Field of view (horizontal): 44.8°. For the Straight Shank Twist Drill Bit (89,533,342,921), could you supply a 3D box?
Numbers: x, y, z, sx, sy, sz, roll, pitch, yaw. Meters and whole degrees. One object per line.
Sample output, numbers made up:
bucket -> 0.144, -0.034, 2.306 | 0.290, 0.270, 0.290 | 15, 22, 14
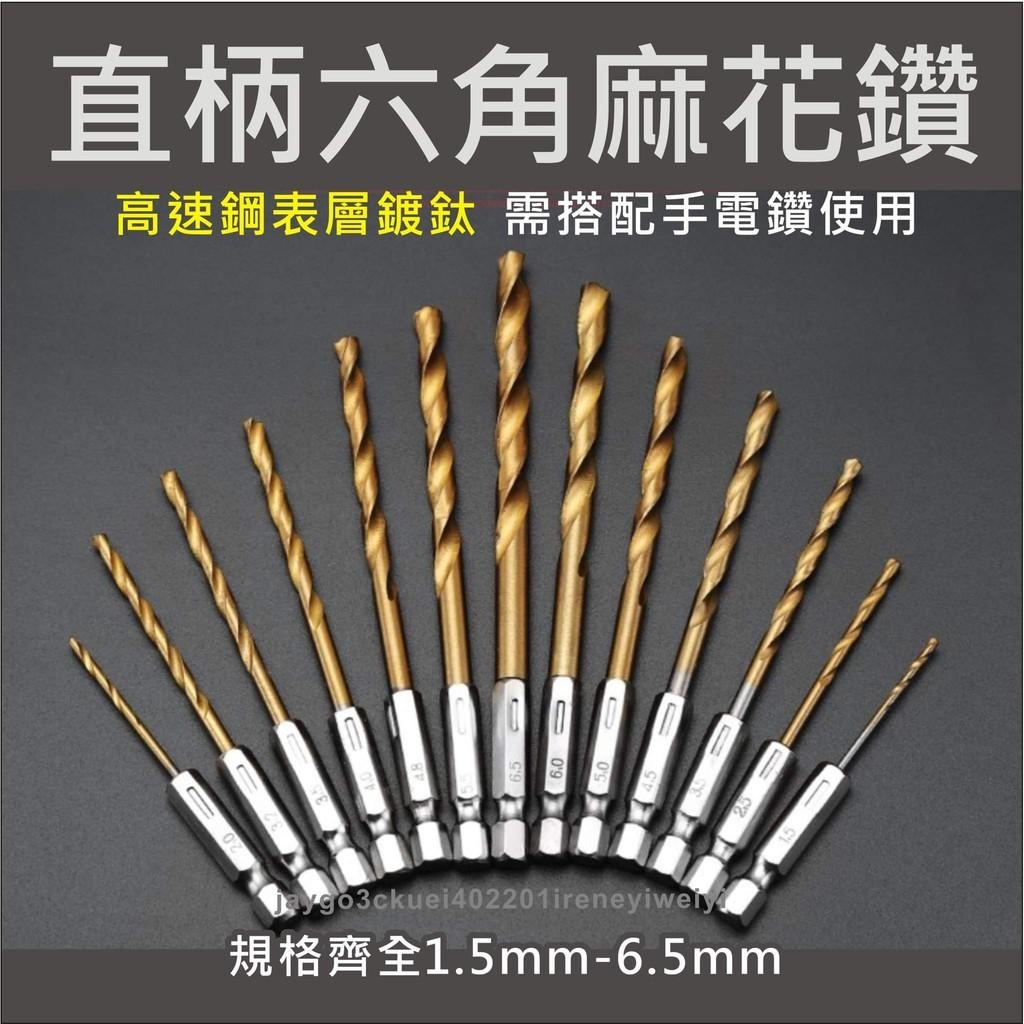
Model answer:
Straight Shank Twist Drill Bit -> -0.538, 0.421, 2.267 | 0.075, 0.079, 0.811 | -22, 63, -22

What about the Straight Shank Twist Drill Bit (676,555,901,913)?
Straight Shank Twist Drill Bit -> 0.498, 0.430, 2.251 | 0.086, 0.083, 0.695 | 32, 75, 7

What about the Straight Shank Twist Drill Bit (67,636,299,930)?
Straight Shank Twist Drill Bit -> -0.587, 0.511, 2.242 | 0.080, 0.086, 0.565 | -35, 82, 0
